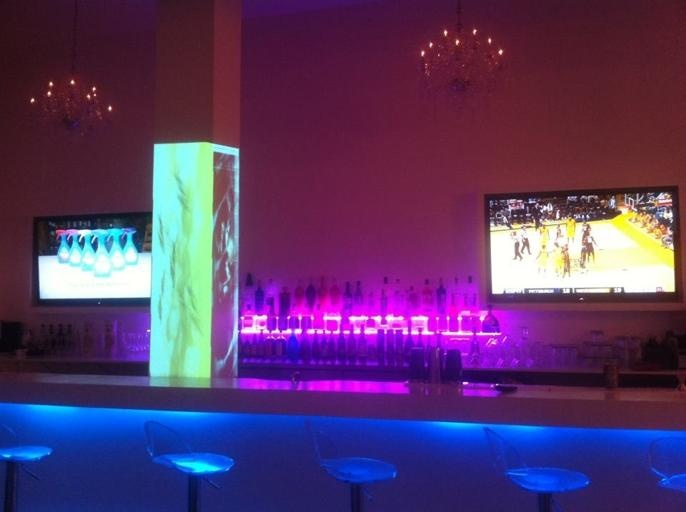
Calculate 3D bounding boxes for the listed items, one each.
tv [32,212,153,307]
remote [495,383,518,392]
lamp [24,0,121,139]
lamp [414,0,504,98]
[{"bbox_3d":[-2.589,0.049,7.841,0.100,0.971,1.503,-1,0,33],"label":"tv"},{"bbox_3d":[1.163,0.955,5.398,0.141,0.054,0.066,-2,0,11],"label":"remote"},{"bbox_3d":[-2.753,-1.973,7.633,0.827,1.444,1.070,-2,0,-20],"label":"lamp"},{"bbox_3d":[1.067,-1.955,6.721,0.808,0.806,1.143,-2,0,7],"label":"lamp"}]
